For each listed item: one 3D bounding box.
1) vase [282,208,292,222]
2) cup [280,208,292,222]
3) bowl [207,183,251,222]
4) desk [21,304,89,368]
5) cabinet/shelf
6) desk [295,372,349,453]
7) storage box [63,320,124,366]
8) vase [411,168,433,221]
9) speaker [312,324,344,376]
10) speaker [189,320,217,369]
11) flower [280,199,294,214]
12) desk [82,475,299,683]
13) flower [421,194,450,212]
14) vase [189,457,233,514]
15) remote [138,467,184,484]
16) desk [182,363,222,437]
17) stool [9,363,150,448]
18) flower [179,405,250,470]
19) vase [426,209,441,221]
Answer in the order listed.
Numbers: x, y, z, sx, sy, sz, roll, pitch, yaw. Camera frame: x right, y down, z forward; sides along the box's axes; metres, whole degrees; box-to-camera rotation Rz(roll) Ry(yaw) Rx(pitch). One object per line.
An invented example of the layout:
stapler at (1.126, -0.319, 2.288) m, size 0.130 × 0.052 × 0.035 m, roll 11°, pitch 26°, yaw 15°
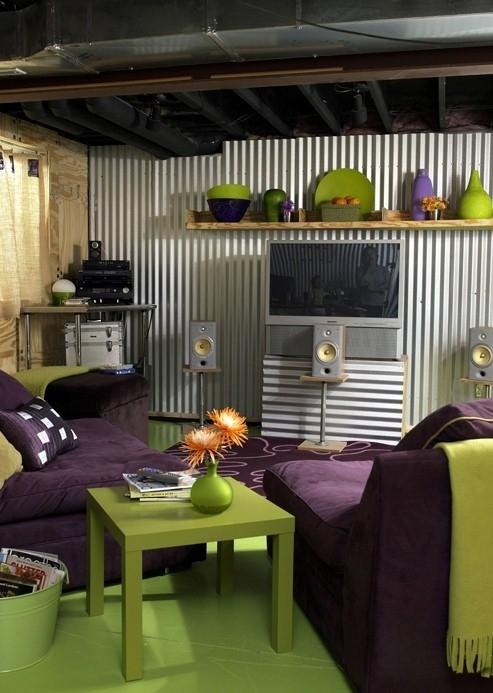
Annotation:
vase at (0.377, -1.228, 5.199) m, size 0.099 × 0.167 × 0.100 m, roll 3°, pitch 6°, yaw 23°
cup at (0.374, -1.226, 5.203) m, size 0.108 × 0.166 × 0.102 m, roll 1°, pitch 2°, yaw 0°
bowl at (-0.168, -1.348, 5.316) m, size 0.415 × 0.331 × 0.289 m, roll 0°, pitch 2°, yaw -5°
desk at (-1.704, -0.050, 4.884) m, size 0.763 × 0.587 × 0.723 m, roll -3°, pitch 1°, yaw -30°
cabinet/shelf at (0.702, 0.427, 4.948) m, size 1.232 × 0.721 × 0.607 m, roll 3°, pitch -2°, yaw -12°
desk at (0.629, 0.542, 4.540) m, size 0.510 × 0.571 × 0.492 m, roll 2°, pitch -2°, yaw -28°
storage box at (-1.372, 0.031, 5.206) m, size 0.517 × 0.488 × 0.391 m, roll -2°, pitch 1°, yaw -1°
vase at (1.597, -1.367, 5.073) m, size 0.219 × 0.468 × 0.210 m, roll -4°, pitch 18°, yaw -13°
speaker at (0.662, 0.034, 4.498) m, size 0.254 × 0.422 × 0.209 m, roll 0°, pitch 1°, yaw 6°
speaker at (-0.388, 0.005, 4.945) m, size 0.274 × 0.420 × 0.260 m, roll 2°, pitch -7°, yaw -17°
flower at (0.381, -1.314, 5.213) m, size 0.108 × 0.083 × 0.109 m, roll -4°, pitch 9°, yaw 31°
desk at (-0.101, 0.769, 1.727) m, size 0.589 × 0.354 × 0.595 m, roll -11°, pitch -25°, yaw 13°
flower at (1.658, -1.268, 4.985) m, size 0.162 × 0.111 × 0.163 m, roll 0°, pitch 2°, yaw -14°
vase at (-0.106, 0.428, 1.704) m, size 0.125 × 0.163 × 0.126 m, roll -1°, pitch -4°, yaw 22°
remote at (-0.285, 0.432, 1.897) m, size 0.112 × 0.032 × 0.059 m, roll 3°, pitch 4°, yaw 28°
desk at (-0.400, 0.457, 4.976) m, size 0.253 × 0.541 × 0.316 m, roll -1°, pitch 4°, yaw -6°
stool at (-1.119, 0.299, 3.743) m, size 0.624 × 0.451 × 0.631 m, roll 3°, pitch 8°, yaw 20°
flower at (-0.110, 0.271, 1.731) m, size 0.202 × 0.204 × 0.191 m, roll 23°, pitch -41°, yaw -23°
vase at (1.681, -1.175, 5.025) m, size 0.116 × 0.116 × 0.110 m, roll 2°, pitch 1°, yaw 38°
